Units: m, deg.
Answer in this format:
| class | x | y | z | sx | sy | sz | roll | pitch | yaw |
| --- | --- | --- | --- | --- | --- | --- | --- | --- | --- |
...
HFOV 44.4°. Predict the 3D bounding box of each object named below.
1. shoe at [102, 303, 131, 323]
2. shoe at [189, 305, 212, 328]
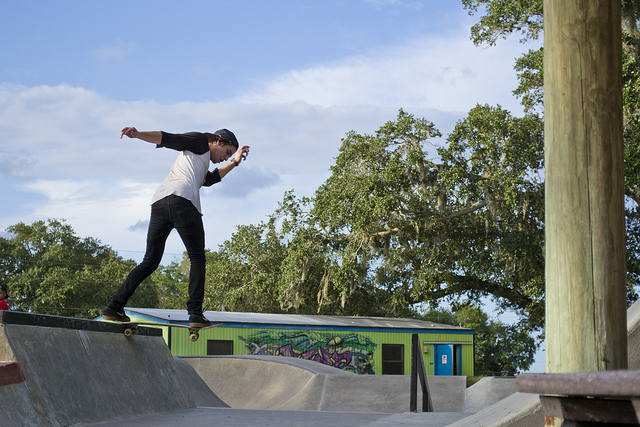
| class | x | y | z | sx | sy | sz | roll | pitch | yaw |
| --- | --- | --- | --- | --- | --- | --- | --- | --- | --- |
| shoe | -2.221 | 1.139 | 8.717 | 0.419 | 0.197 | 0.140 | 18 | -11 | -41 |
| shoe | -1.330 | 1.231 | 8.912 | 0.127 | 0.279 | 0.382 | 2 | -6 | 39 |
